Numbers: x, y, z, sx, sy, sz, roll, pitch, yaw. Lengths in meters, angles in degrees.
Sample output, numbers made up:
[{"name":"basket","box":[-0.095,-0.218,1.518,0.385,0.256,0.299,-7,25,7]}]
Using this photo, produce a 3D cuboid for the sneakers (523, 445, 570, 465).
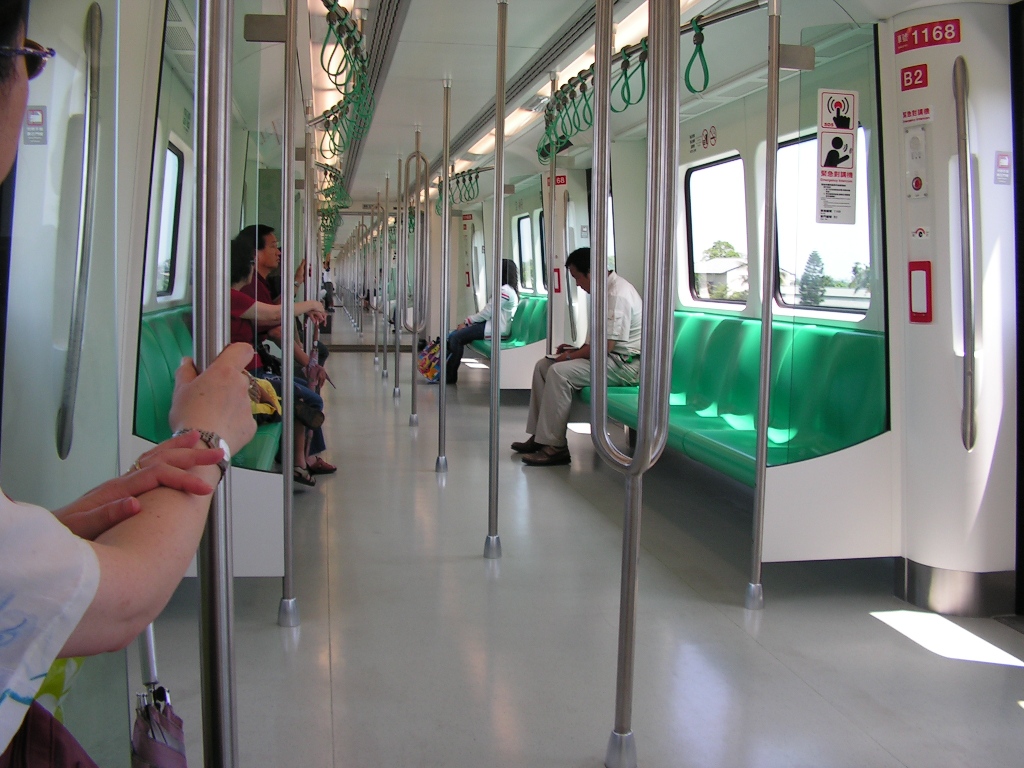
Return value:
[{"name":"sneakers","box":[0.283,0.565,5.875,0.361,0.185,0.148,2,3,-10]}]

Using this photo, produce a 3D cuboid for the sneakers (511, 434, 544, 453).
[{"name":"sneakers","box":[0.154,0.489,6.116,0.286,0.150,0.112,2,-3,30]}]

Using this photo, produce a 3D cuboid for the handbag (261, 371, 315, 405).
[{"name":"handbag","box":[-1.154,0.027,3.876,0.173,0.068,0.135,35,4,29]}]

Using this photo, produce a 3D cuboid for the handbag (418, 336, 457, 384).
[{"name":"handbag","box":[-0.954,-0.218,9.819,0.384,0.579,1.243,0,9,-5]}]

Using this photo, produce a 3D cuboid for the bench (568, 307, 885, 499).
[{"name":"bench","box":[1.267,0.035,4.227,0.578,0.843,1.817,1,5,-11]}]

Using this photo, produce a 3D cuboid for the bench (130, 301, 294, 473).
[{"name":"bench","box":[-0.751,0.007,1.873,0.304,0.517,0.660,3,3,-14]}]

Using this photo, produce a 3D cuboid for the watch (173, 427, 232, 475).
[{"name":"watch","box":[-0.387,0.077,0.951,0.053,0.072,0.028,5,25,36]}]

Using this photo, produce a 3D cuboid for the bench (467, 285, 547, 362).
[{"name":"bench","box":[0.049,-0.674,9.672,0.721,0.848,1.550,-1,4,-15]}]
